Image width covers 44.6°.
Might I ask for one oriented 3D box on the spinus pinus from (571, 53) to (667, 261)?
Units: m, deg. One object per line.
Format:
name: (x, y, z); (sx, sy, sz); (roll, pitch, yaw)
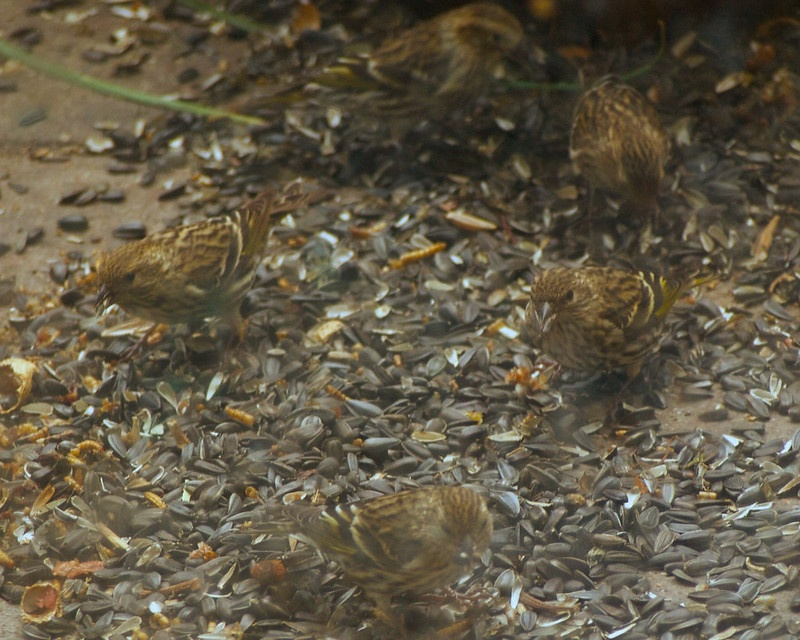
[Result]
spinus pinus: (0.702, -0.522, 3.108); (0.310, 0.447, 0.149); (-19, 15, 37)

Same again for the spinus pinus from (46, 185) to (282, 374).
spinus pinus: (-0.680, -0.215, 3.292); (0.362, 0.410, 1.019); (13, 39, 24)

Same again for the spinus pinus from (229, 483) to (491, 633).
spinus pinus: (-0.035, 0.608, 2.844); (0.518, 0.221, 0.410); (33, 59, 22)

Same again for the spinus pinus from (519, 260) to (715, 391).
spinus pinus: (0.712, -0.045, 3.274); (0.704, 0.398, 0.400); (-24, 22, -31)
